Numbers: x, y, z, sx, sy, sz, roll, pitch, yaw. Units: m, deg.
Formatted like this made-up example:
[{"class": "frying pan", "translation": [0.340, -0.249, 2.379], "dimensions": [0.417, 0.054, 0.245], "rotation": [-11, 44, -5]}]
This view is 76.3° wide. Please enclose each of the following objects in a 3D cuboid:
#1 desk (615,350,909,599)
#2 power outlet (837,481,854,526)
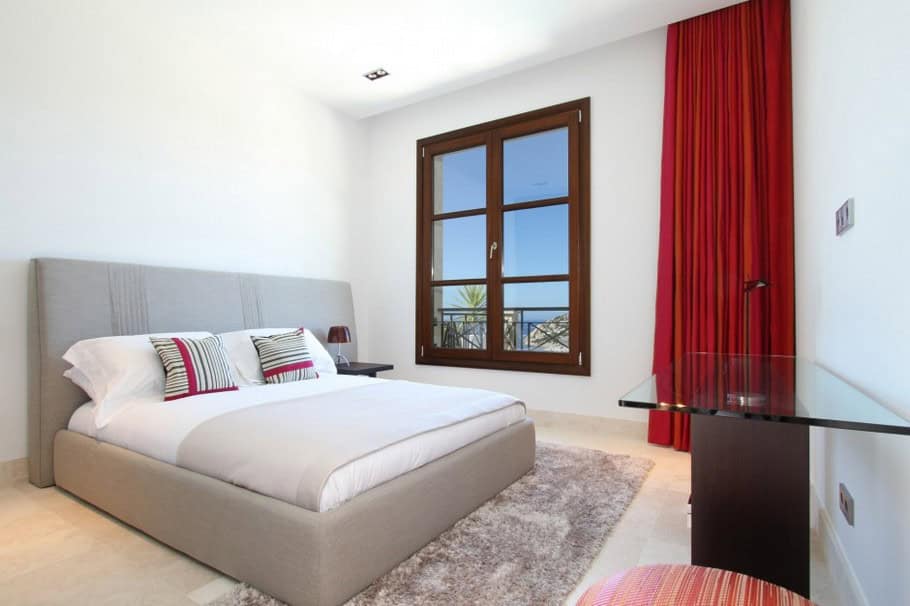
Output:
[{"class": "desk", "translation": [1.495, 0.788, 2.902], "dimensions": [0.974, 0.904, 1.845], "rotation": [0, 0, 25]}, {"class": "power outlet", "translation": [2.091, 1.076, 3.095], "dimensions": [0.029, 0.181, 0.287], "rotation": [0, -2, 23]}]
